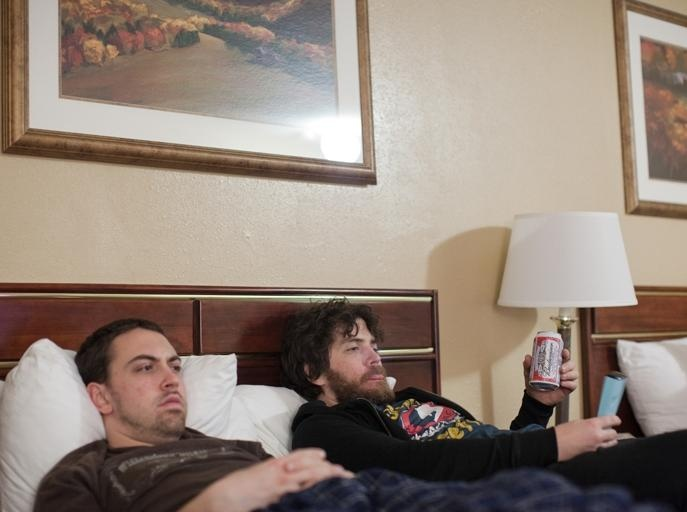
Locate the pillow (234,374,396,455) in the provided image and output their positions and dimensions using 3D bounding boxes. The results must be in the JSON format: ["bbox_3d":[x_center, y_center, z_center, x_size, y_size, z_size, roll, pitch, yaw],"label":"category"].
[{"bbox_3d":[-0.088,0.528,1.870,0.317,0.228,0.092,9,-42,-21],"label":"pillow"}]
